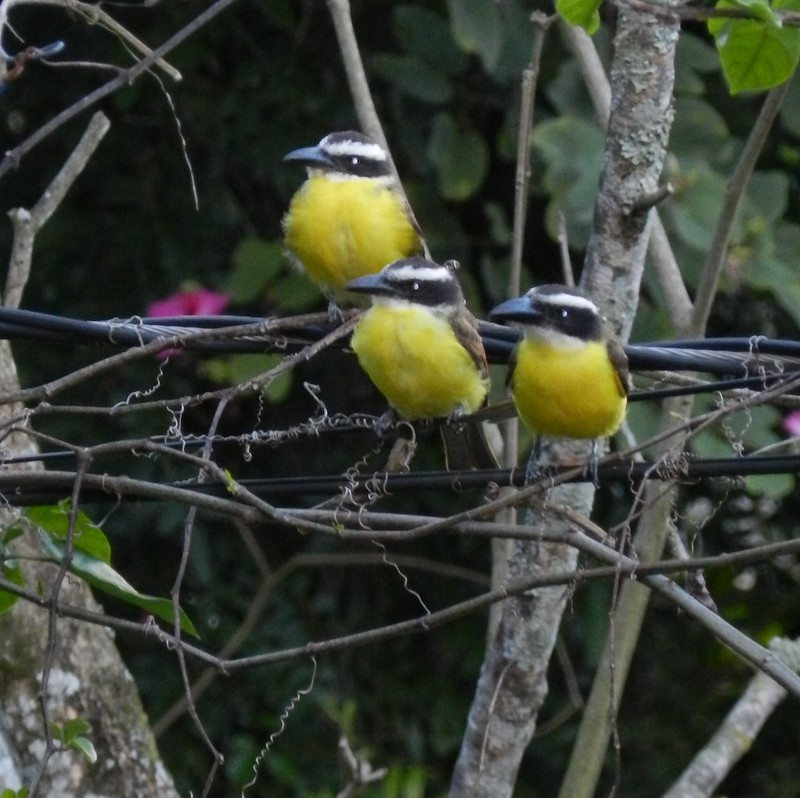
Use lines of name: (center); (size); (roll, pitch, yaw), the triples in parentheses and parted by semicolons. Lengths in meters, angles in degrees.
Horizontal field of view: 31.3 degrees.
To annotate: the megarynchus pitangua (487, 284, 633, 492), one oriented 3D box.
megarynchus pitangua: (0.551, -0.069, 5.051); (0.406, 0.593, 0.556); (-10, 26, -34)
